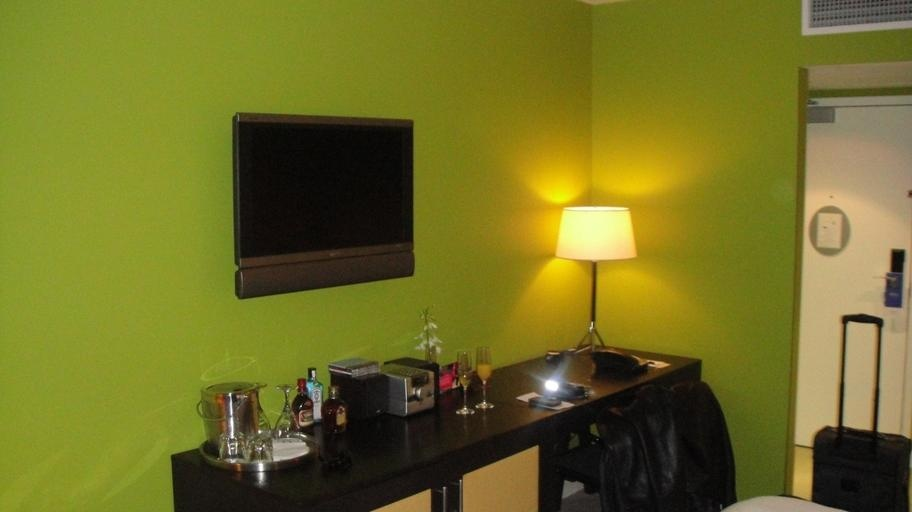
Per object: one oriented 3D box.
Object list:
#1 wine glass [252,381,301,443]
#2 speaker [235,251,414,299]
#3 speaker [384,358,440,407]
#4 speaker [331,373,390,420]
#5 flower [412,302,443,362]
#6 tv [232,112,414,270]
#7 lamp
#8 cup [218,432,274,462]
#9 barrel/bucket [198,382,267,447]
[{"bbox_3d":[-0.985,0.852,4.156,0.333,0.289,0.199,2,-5,-38],"label":"wine glass"},{"bbox_3d":[-0.731,0.098,4.419,0.173,0.221,1.246,3,6,43],"label":"speaker"},{"bbox_3d":[-0.255,0.749,4.577,0.370,0.255,0.219,6,9,42],"label":"speaker"},{"bbox_3d":[-0.569,0.823,4.470,0.399,0.259,0.369,3,3,-10],"label":"speaker"},{"bbox_3d":[-0.174,0.499,4.801,0.176,0.311,0.161,-6,-9,-29],"label":"flower"},{"bbox_3d":[-0.784,-0.372,4.251,0.998,0.645,0.098,-3,6,-37],"label":"tv"},{"bbox_3d":[1.005,0.144,5.438,0.554,1.040,0.525,-1,2,12],"label":"lamp"},{"bbox_3d":[-1.083,0.976,3.922,0.221,0.071,0.141,1,-6,7],"label":"cup"},{"bbox_3d":[-1.179,0.805,3.988,0.364,0.306,0.294,1,1,20],"label":"barrel/bucket"}]
